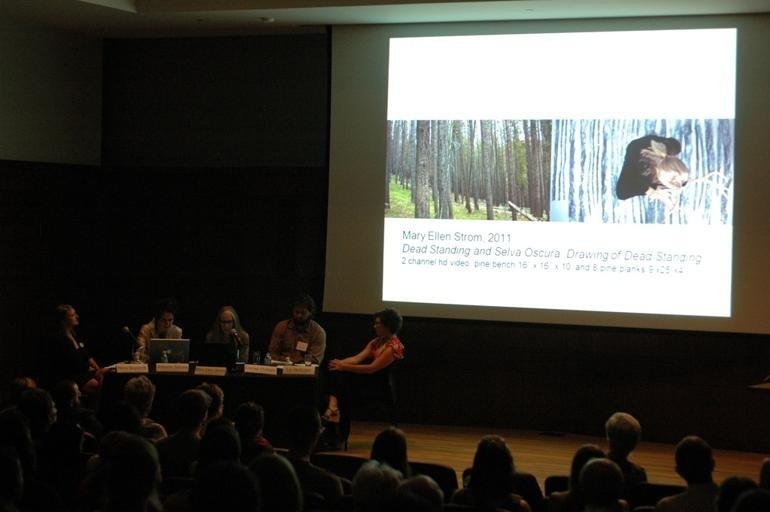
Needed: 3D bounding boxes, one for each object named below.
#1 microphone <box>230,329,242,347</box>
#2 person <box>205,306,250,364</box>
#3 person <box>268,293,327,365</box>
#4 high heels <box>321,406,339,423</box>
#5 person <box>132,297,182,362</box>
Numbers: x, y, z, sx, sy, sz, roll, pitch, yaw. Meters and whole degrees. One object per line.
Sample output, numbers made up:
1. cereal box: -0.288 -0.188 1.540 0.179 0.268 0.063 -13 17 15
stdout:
1. microphone: -1.528 0.830 6.717 0.100 0.158 0.279 0 4 -14
2. person: -1.629 0.841 6.830 0.571 0.782 0.400 1 -9 -4
3. person: -0.926 0.834 6.914 0.553 0.795 0.527 5 -7 0
4. high heels: -0.540 1.630 6.665 0.195 0.249 0.134 3 -11 -11
5. person: -2.430 0.807 6.972 0.489 0.810 0.449 8 -15 -22
